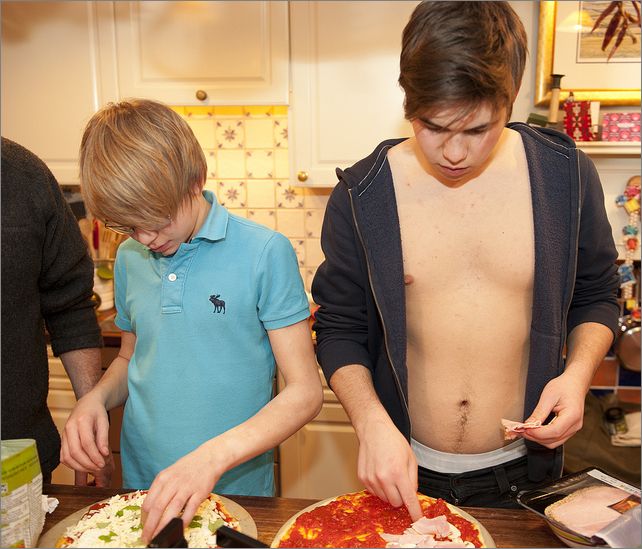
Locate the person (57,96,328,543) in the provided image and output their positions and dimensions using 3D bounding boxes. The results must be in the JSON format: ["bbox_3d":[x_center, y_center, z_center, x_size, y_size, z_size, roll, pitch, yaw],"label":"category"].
[{"bbox_3d":[-0.298,0.091,1.251,0.577,0.931,0.544,-4,13,-1],"label":"person"}]
